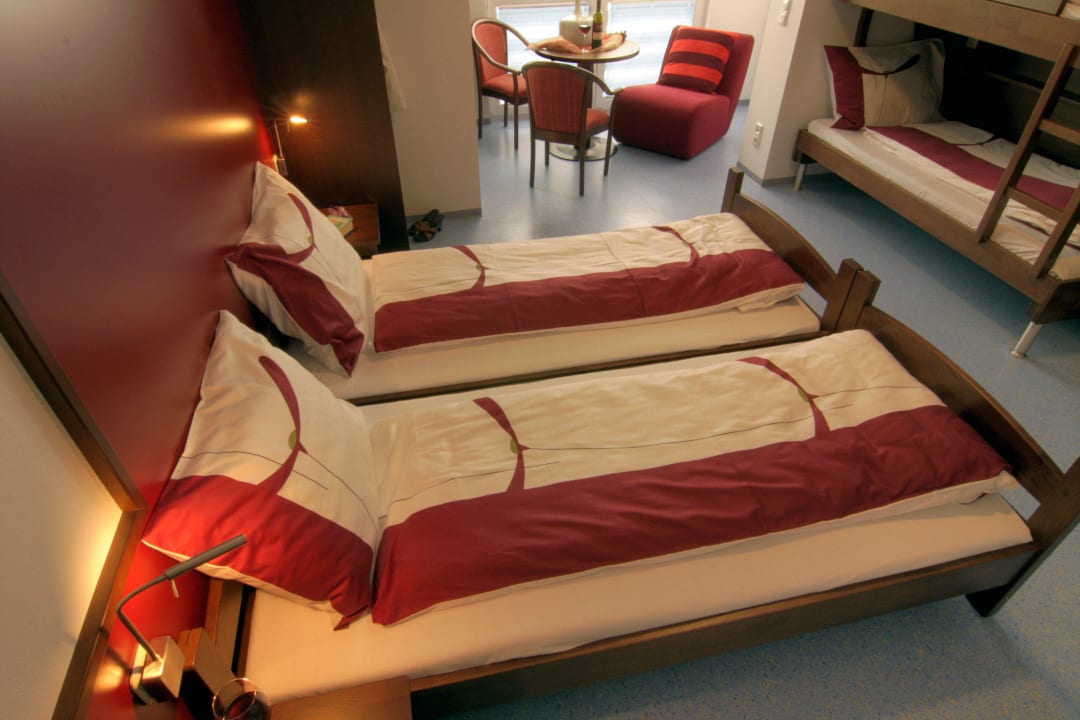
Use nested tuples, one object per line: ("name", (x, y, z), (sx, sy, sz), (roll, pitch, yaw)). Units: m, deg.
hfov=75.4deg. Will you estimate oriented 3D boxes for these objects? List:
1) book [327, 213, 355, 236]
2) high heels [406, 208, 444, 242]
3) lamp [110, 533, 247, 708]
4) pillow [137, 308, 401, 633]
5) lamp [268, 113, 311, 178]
("book", (-1.099, -0.777, 3.914), (0.130, 0.048, 0.129), (-21, 53, -31))
("high heels", (-0.776, -0.919, 4.887), (0.171, 0.113, 0.307), (27, 45, 21))
("lamp", (-1.043, 0.755, 2.012), (0.382, 0.558, 0.235), (0, 42, -19))
("pillow", (-0.888, 0.493, 2.419), (0.847, 0.336, 1.148), (30, 32, -33))
("lamp", (-1.419, -1.215, 3.949), (0.089, 0.303, 0.299), (10, 24, 23))
